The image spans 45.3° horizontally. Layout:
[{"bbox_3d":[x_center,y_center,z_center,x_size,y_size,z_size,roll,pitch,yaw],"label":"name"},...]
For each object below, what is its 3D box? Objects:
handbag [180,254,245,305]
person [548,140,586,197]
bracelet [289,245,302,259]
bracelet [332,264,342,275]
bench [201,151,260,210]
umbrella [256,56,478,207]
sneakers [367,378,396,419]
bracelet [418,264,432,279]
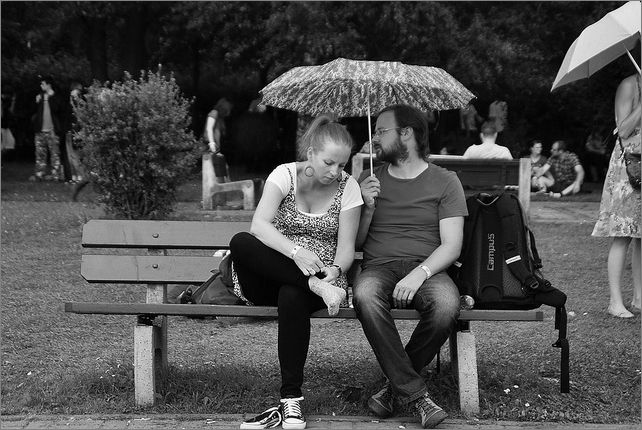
[{"bbox_3d":[-0.904,0.626,6.734,0.617,0.235,0.448,-17,31,-23],"label":"handbag"},{"bbox_3d":[5.335,-1.033,16.938,0.739,1.160,0.906,6,9,36],"label":"person"},{"bbox_3d":[-0.214,0.304,6.386,0.078,0.112,0.056,-7,11,-44],"label":"bracelet"},{"bbox_3d":[0.132,0.453,6.486,0.031,0.081,0.068,-37,37,-16],"label":"bracelet"},{"bbox_3d":[-1.683,-0.670,14.328,1.047,1.012,1.106,-1,4,1],"label":"bench"},{"bbox_3d":[0.422,-0.681,7.374,1.374,0.707,1.373,0,-7,8],"label":"umbrella"},{"bbox_3d":[0.512,1.553,6.441,0.140,0.147,0.379,40,2,3],"label":"sneakers"},{"bbox_3d":[0.877,0.467,6.507,0.106,0.111,0.074,-6,14,30],"label":"bracelet"}]
